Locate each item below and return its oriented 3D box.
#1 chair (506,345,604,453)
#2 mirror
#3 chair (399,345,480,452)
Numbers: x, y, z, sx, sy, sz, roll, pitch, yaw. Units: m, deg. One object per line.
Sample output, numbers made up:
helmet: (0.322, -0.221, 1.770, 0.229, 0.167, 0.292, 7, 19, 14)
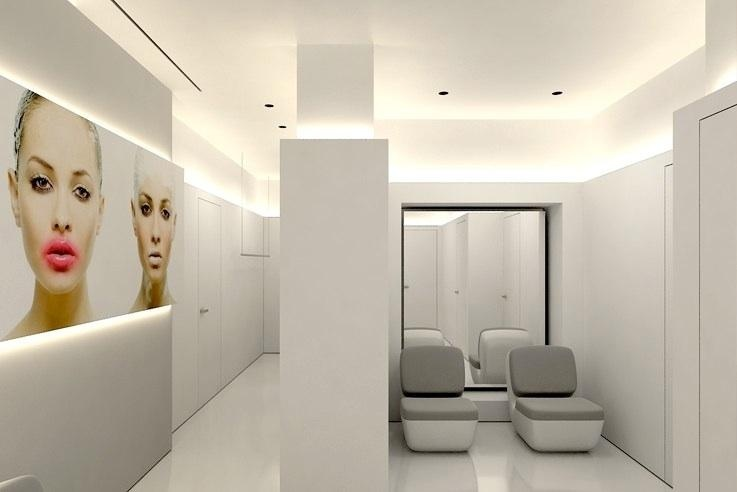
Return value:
chair: (1.921, 1.586, 5.476, 0.821, 1.072, 1.155, -1, -9, 13)
mirror: (1.228, 0.619, 5.988, 1.996, 2.655, 0.266, 0, -1, -2)
chair: (0.705, 1.604, 5.511, 0.758, 1.034, 1.145, 0, -10, 1)
